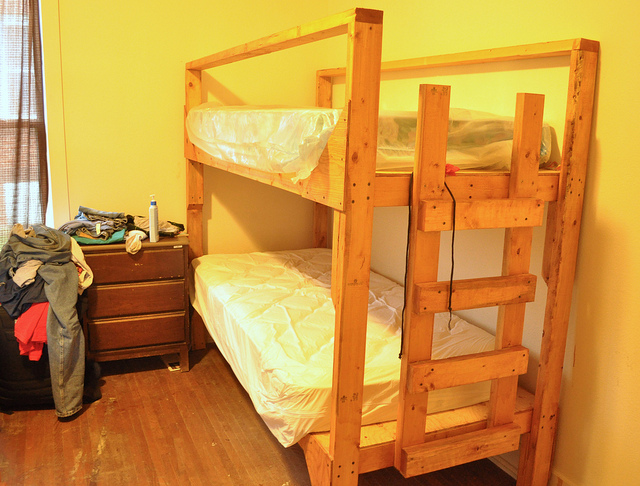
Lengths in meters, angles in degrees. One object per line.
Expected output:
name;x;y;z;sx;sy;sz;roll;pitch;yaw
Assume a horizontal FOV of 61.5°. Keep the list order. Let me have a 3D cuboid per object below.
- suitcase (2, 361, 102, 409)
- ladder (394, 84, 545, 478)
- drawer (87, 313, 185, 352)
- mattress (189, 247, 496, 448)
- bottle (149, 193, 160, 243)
suitcase;-1.831;0.942;3.648;0.472;0.168;0.355;2;7;-26
ladder;0.709;0.179;2.551;0.792;1.793;0.304;-6;16;-23
drawer;-1.345;0.643;4.009;0.649;0.244;0.414;-1;8;-31
mattress;-0.021;0.527;3.878;1.449;0.516;2.322;-5;17;-23
bottle;-1.248;-0.201;4.043;0.073;0.330;0.269;-4;15;-17
